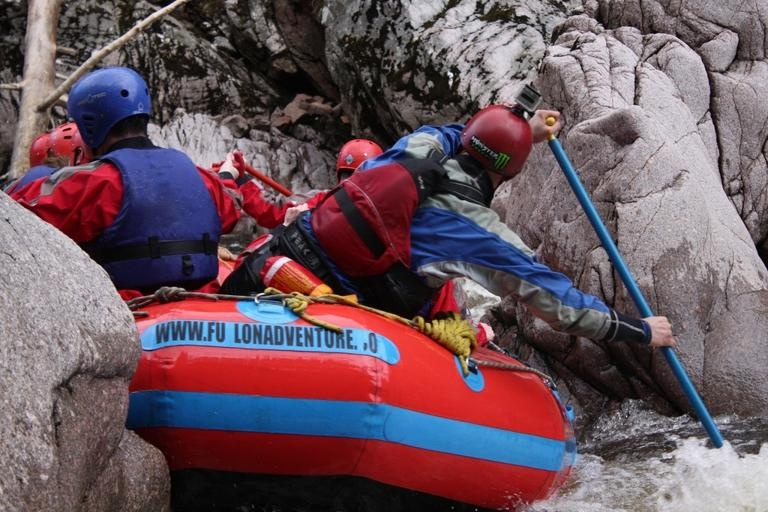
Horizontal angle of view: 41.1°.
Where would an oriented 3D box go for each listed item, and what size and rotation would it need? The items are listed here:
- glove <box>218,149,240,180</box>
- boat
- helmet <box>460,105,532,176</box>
[{"bbox_3d":[-1.394,-0.785,9.313,0.113,0.142,0.339,28,-20,13],"label":"glove"},{"bbox_3d":[-0.291,1.148,7.677,2.414,0.869,1.832,23,-9,-26],"label":"boat"},{"bbox_3d":[0.923,-0.978,8.371,0.502,0.431,0.557,34,22,-5],"label":"helmet"}]
